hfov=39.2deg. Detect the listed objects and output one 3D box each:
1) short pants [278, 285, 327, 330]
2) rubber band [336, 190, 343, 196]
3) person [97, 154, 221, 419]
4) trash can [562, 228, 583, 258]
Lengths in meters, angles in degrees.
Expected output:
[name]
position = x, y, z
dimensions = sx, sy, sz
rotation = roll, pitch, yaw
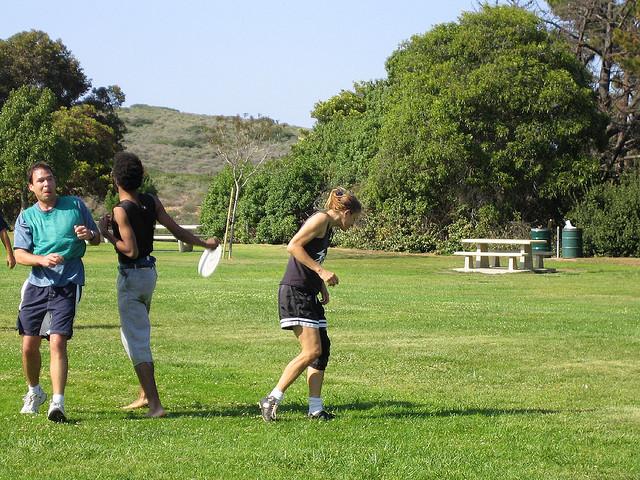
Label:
[short pants]
position = -0.249, 0.909, 12.604
dimensions = 0.607, 0.589, 0.237
rotation = 1, 6, 2
[rubber band]
position = 0.268, -0.685, 12.773
dimensions = 0.075, 0.076, 0.022
rotation = -4, -3, -6
[person]
position = -2.553, 0.580, 12.909
dimensions = 1.249, 3.622, 0.872
rotation = 4, 7, 30
[trash can]
position = 11.136, 0.074, 39.674
dimensions = 0.838, 1.357, 0.753
rotation = 2, 6, 13
